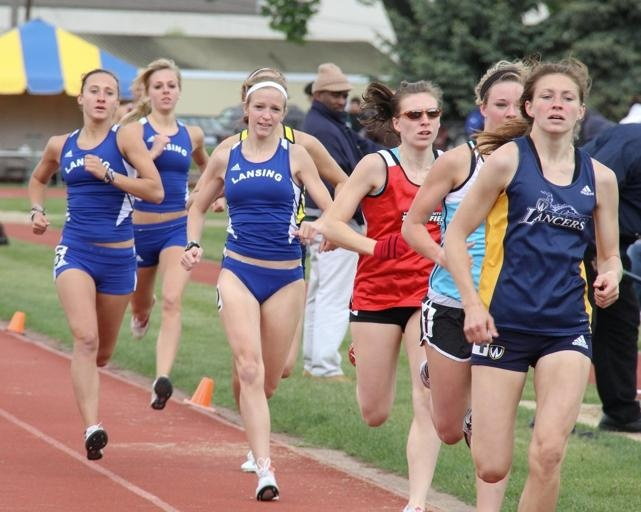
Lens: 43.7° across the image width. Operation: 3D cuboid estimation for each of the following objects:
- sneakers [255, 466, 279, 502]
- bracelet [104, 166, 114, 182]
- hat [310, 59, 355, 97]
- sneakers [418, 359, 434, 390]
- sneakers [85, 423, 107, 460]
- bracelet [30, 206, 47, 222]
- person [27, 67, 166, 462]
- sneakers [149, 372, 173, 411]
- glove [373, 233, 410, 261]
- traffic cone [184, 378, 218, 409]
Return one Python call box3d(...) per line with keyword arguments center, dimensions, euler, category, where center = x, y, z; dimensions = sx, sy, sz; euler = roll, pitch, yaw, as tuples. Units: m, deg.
box3d(center=(-0.320, 1.345, 4.736), dimensions=(0.077, 0.112, 0.227), euler=(-12, -19, -12), category="sneakers")
box3d(center=(-1.453, -0.572, 5.527), dimensions=(0.076, 0.086, 0.063), euler=(-5, 16, 2), category="bracelet")
box3d(center=(0.083, -1.823, 8.204), dimensions=(0.302, 0.220, 0.335), euler=(-6, 14, -15), category="hat")
box3d(center=(0.602, 0.677, 4.625), dimensions=(0.048, 0.115, 0.129), euler=(-3, -33, 5), category="sneakers")
box3d(center=(-1.441, 1.207, 5.149), dimensions=(0.104, 0.280, 0.145), euler=(-3, 46, -15), category="sneakers")
box3d(center=(-2.165, -0.330, 6.139), dimensions=(0.081, 0.129, 0.098), euler=(-15, 56, -29), category="bracelet")
box3d(center=(-1.587, 0.001, 5.652), dimensions=(0.817, 2.690, 1.502), euler=(0, 6, -23), category="person")
box3d(center=(-1.238, 1.051, 6.210), dimensions=(0.131, 0.329, 0.142), euler=(5, 23, -17), category="sneakers")
box3d(center=(0.394, -0.056, 4.492), dimensions=(0.149, 0.077, 0.124), euler=(-5, -9, 35), category="glove")
box3d(center=(-1.025, 1.202, 6.982), dimensions=(0.267, 0.256, 0.262), euler=(5, -20, 44), category="traffic cone")
